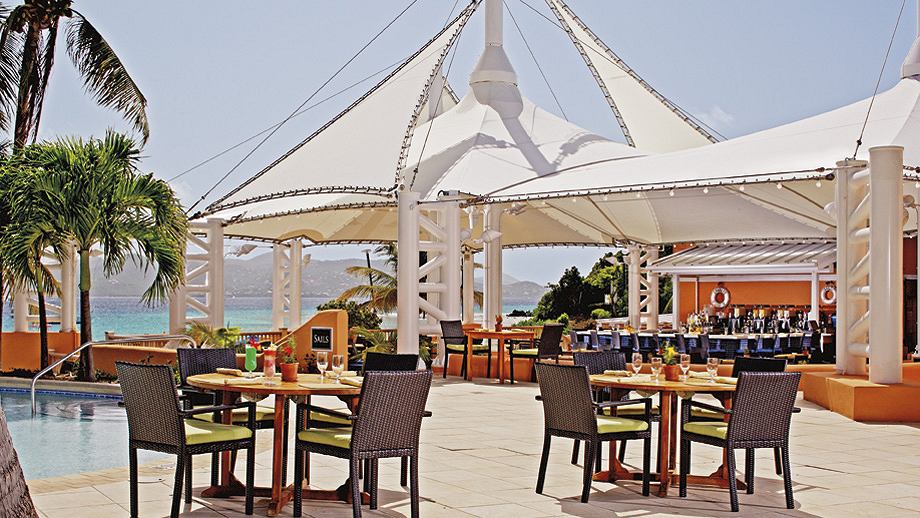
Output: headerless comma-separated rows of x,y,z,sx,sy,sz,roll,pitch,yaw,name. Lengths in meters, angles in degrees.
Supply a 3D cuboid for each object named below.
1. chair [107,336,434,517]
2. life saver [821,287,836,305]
-2.728,2.269,9.546,3.091,1.849,1.540,1,-5,16,chair
14.130,1.383,28.974,0.282,0.724,0.688,5,3,-41,life saver
